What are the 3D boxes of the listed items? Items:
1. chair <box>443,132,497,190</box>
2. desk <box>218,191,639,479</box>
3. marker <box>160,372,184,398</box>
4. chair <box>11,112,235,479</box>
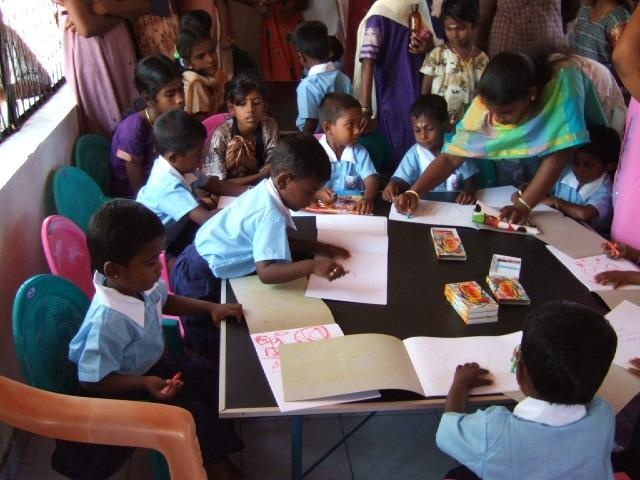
[{"bbox_3d":[0.747,-0.405,2.592,0.270,0.389,0.208,-3,17,-2],"label":"chair"},{"bbox_3d":[0.308,0.530,1.976,1.454,0.797,0.897,-18,35,-26],"label":"desk"},{"bbox_3d":[-0.481,0.463,1.652,0.057,0.024,0.060,-9,39,49],"label":"marker"},{"bbox_3d":[-0.649,0.104,2.166,0.831,1.521,0.849,-5,31,-20],"label":"chair"}]
